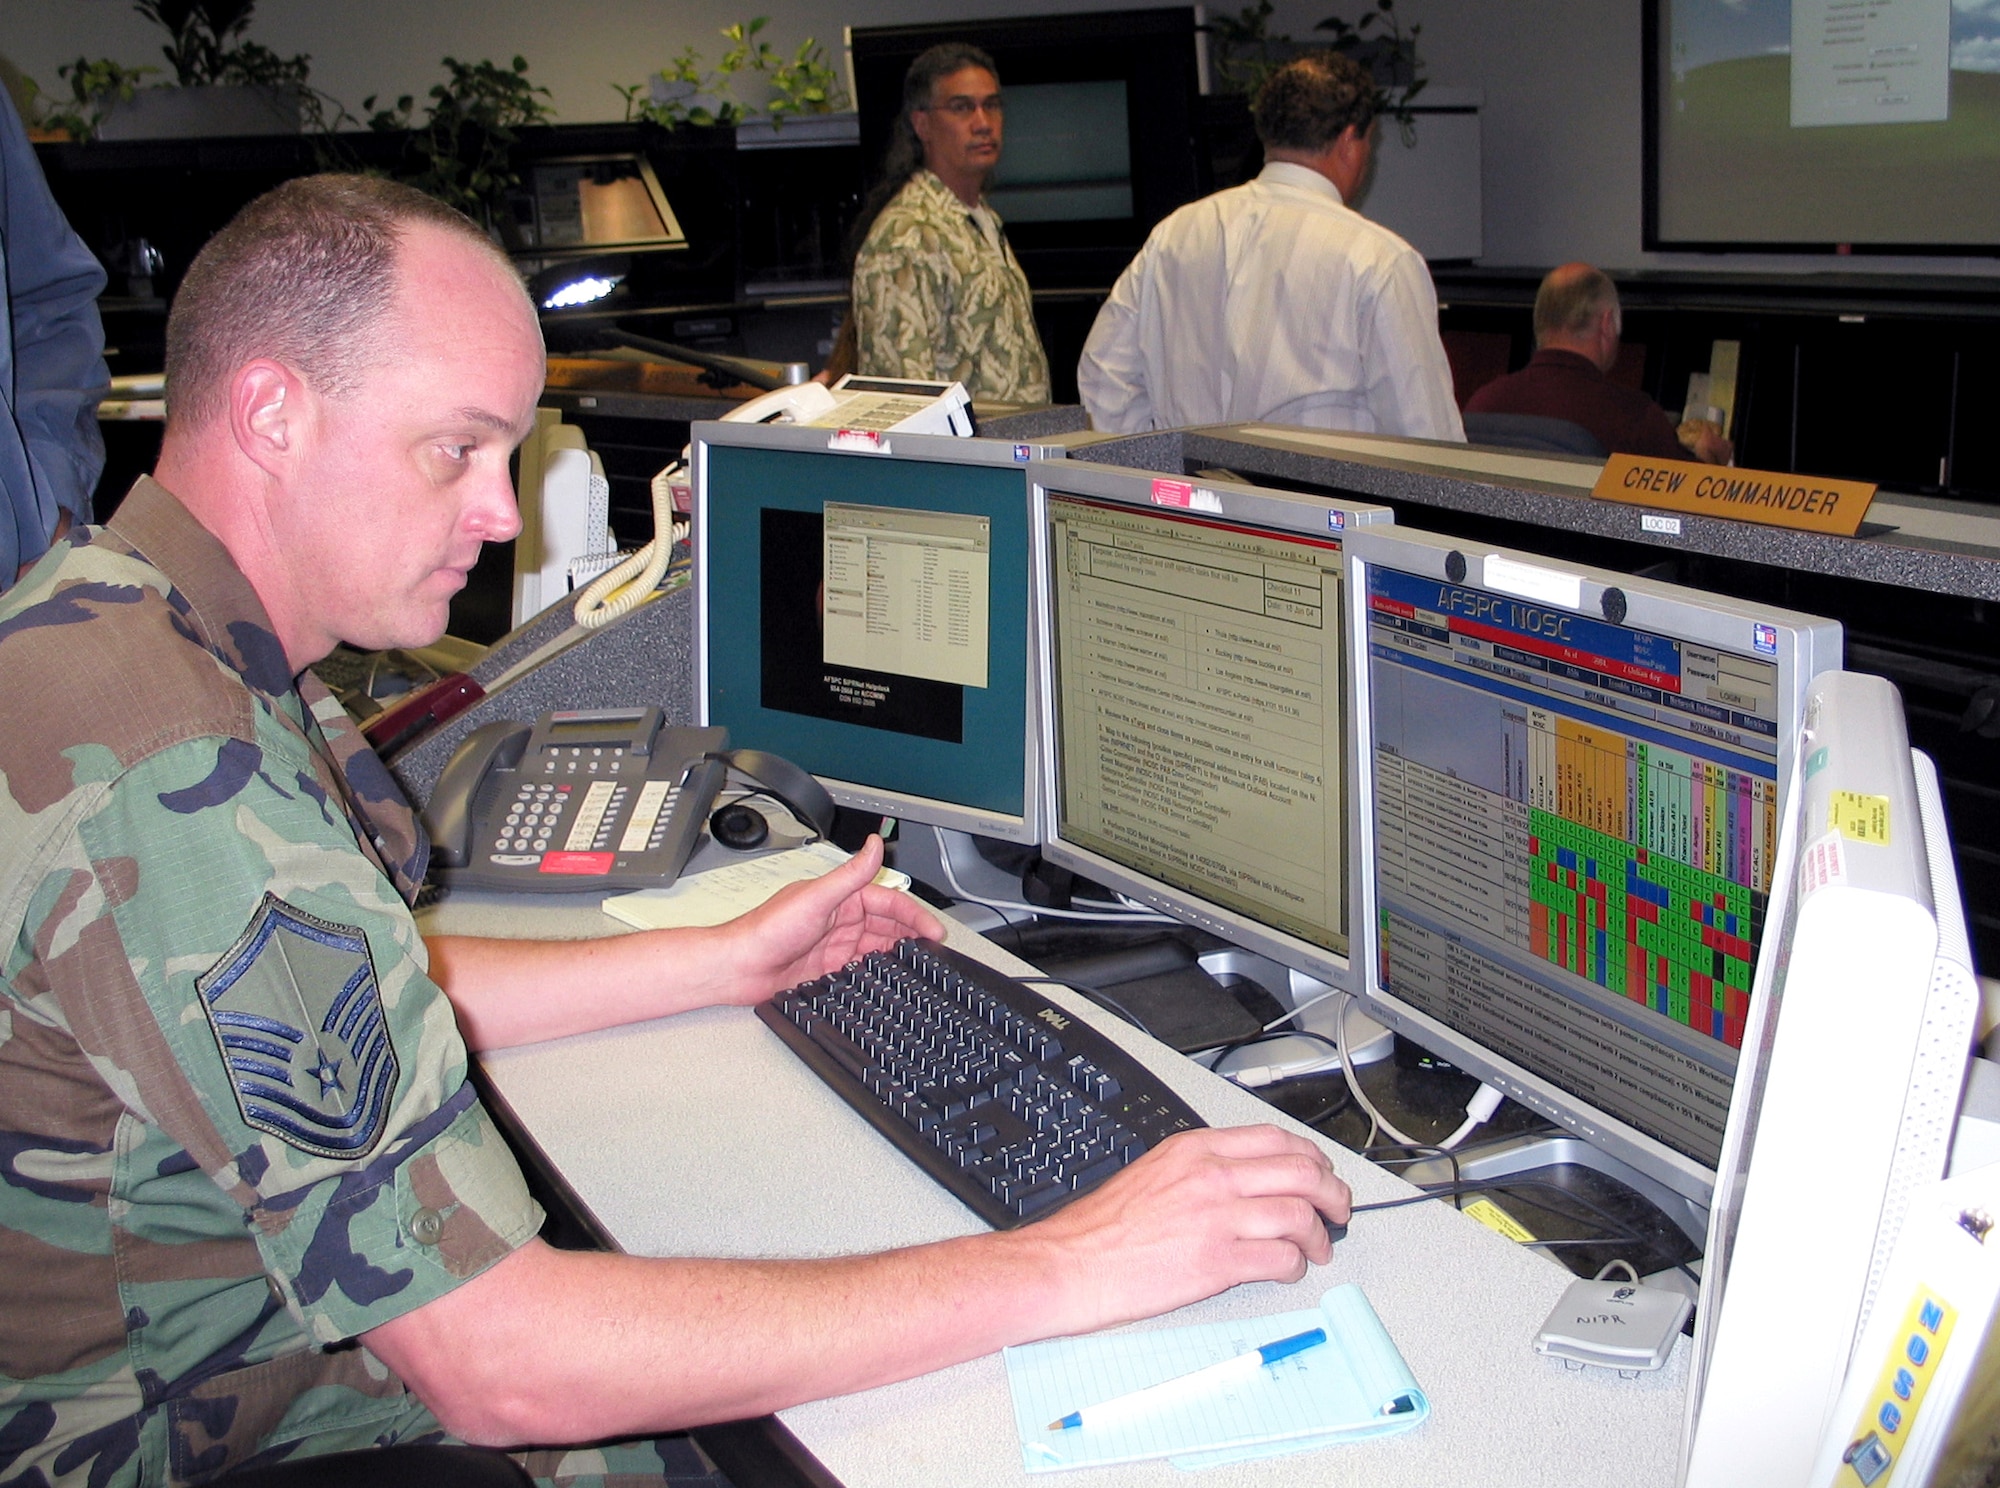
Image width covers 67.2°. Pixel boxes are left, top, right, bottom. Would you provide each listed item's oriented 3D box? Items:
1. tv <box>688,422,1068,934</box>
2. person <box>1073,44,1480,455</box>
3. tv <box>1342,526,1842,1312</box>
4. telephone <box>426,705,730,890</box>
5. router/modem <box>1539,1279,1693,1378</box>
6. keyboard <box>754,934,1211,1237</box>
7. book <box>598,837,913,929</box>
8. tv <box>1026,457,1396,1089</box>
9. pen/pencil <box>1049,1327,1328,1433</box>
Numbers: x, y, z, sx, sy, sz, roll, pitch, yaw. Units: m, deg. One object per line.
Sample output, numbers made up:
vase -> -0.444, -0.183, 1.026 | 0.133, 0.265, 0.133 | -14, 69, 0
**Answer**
tv -> -0.114, -0.089, 1.903 | 0.600, 0.586, 0.203 | 12, 15, 40
person -> 0.620, -0.826, 3.230 | 0.874, 1.128, 0.481 | 14, 34, 29
tv -> 0.416, 0.132, 1.087 | 0.162, 0.491, 0.434 | -13, 27, -25
telephone -> -0.520, 0.059, 1.820 | 0.337, 0.112, 0.302 | -1, 26, 11
router/modem -> 0.422, 0.395, 1.031 | 0.075, 0.036, 0.097 | 13, 27, 36
keyboard -> -0.033, 0.283, 1.341 | 0.211, 0.068, 0.459 | -16, 22, -29
book -> -0.315, 0.168, 1.696 | 0.143, 0.017, 0.157 | 18, 27, 41
tv -> 0.208, 0.035, 1.467 | 0.198, 0.547, 0.504 | -14, 21, -34
pen/pencil -> 0.129, 0.429, 1.015 | 0.216, 0.022, 0.024 | -9, 30, -22
